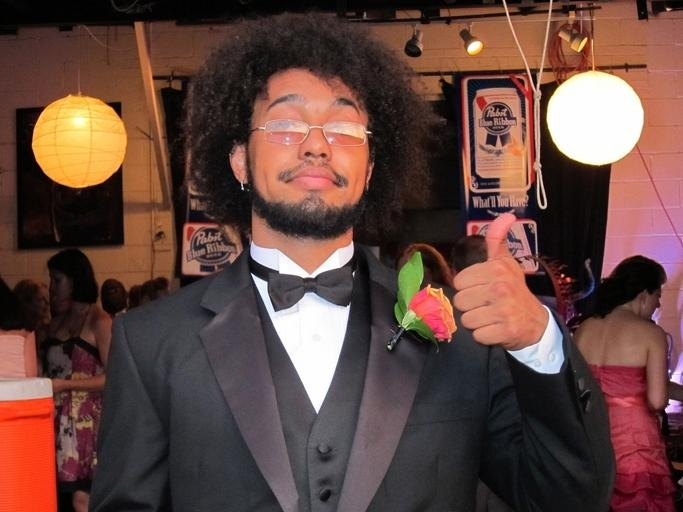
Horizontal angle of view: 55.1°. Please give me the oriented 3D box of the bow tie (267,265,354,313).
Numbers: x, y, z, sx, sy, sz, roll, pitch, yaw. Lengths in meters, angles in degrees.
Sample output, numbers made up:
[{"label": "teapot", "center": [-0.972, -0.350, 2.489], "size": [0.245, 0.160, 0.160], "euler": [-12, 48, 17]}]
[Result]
[{"label": "bow tie", "center": [-0.107, 0.109, 2.299], "size": [0.299, 0.149, 0.037], "euler": [-3, 15, 2]}]

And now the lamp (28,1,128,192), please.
[{"label": "lamp", "center": [-1.799, -0.994, 4.463], "size": [0.337, 1.064, 0.316], "euler": [-1, 11, -25]}]

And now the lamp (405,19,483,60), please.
[{"label": "lamp", "center": [0.875, -1.824, 5.832], "size": [0.797, 0.463, 0.451], "euler": [0, 7, 1]}]
